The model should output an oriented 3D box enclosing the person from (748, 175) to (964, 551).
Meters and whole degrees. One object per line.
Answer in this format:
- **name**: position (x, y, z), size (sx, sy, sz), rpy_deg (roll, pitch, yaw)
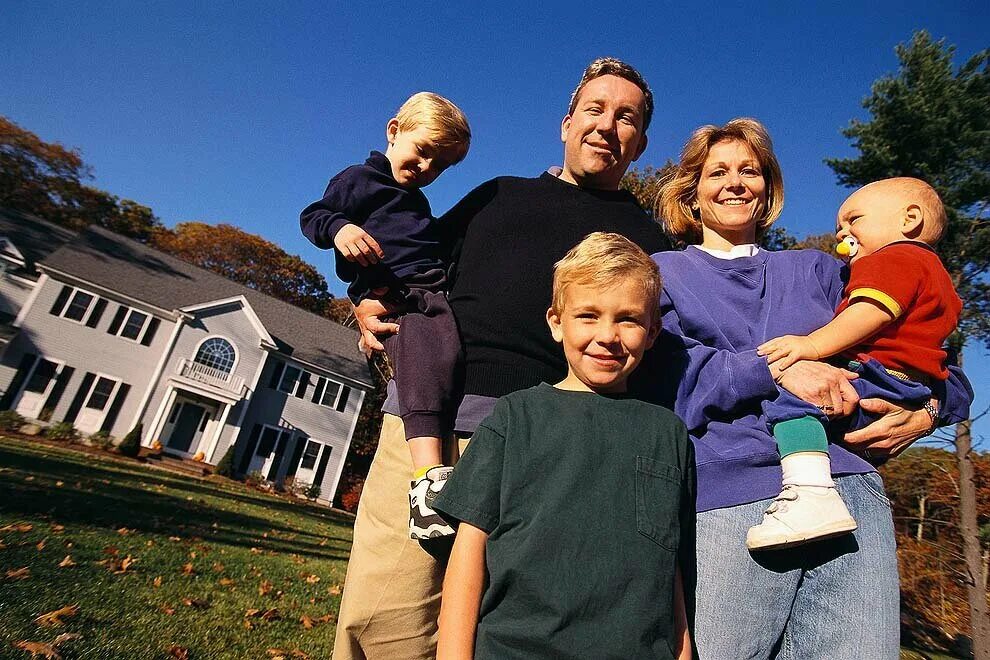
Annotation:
- **person**: position (2.319, 0.113, 3.976), size (1.449, 2.322, 1.052), rpy_deg (-1, -10, 19)
